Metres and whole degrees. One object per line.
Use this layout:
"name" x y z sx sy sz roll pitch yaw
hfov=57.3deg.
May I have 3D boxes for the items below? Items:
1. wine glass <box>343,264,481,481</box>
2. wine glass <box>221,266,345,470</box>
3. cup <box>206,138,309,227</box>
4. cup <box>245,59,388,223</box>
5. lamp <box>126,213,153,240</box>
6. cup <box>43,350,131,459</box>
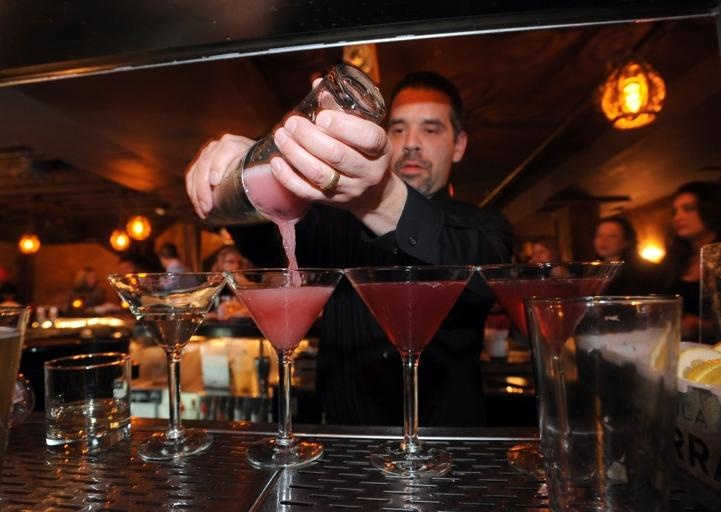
"wine glass" 0.144 0.323 1.949 0.392 0.608 0.220 1 -9 -2
"wine glass" -0.247 0.323 2.015 0.362 0.584 0.279 1 -9 -3
"cup" -0.312 -0.228 1.989 0.275 0.126 0.130 -4 -25 45
"cup" -0.169 -0.326 1.952 0.246 0.406 0.455 8 -11 -38
"lamp" -1.172 -0.162 3.475 0.103 0.098 0.114 -8 14 -6
"cup" -0.822 0.440 1.991 0.281 0.294 0.266 0 -5 0
